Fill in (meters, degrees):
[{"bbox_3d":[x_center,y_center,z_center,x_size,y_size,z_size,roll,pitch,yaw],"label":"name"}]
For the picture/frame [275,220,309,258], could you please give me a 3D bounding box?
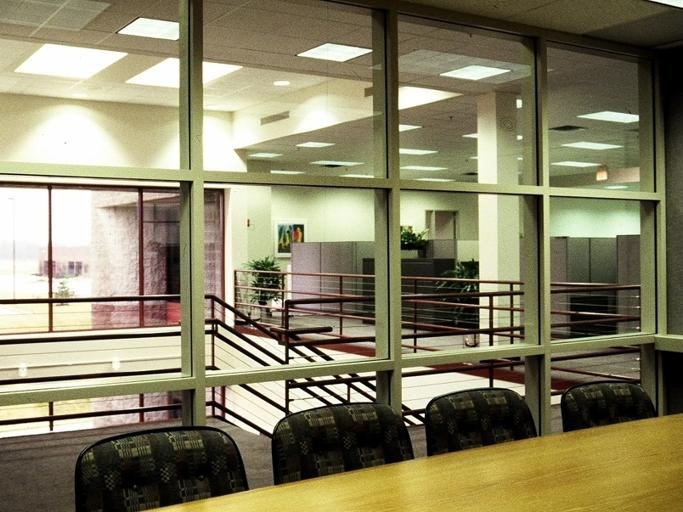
[{"bbox_3d":[-1.146,-0.435,12.848,0.053,0.668,0.912,1,2,42],"label":"picture/frame"}]
